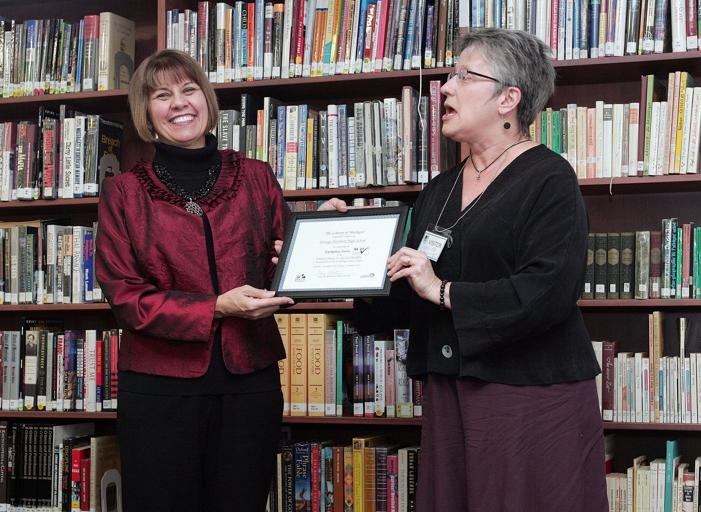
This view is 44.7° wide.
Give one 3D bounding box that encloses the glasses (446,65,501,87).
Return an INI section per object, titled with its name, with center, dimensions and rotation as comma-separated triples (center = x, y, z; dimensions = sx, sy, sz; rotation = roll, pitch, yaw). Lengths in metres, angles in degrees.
[glasses]
center = 0.401, -0.596, 2.822
dimensions = 0.191, 0.071, 0.049
rotation = -3, -3, 37
